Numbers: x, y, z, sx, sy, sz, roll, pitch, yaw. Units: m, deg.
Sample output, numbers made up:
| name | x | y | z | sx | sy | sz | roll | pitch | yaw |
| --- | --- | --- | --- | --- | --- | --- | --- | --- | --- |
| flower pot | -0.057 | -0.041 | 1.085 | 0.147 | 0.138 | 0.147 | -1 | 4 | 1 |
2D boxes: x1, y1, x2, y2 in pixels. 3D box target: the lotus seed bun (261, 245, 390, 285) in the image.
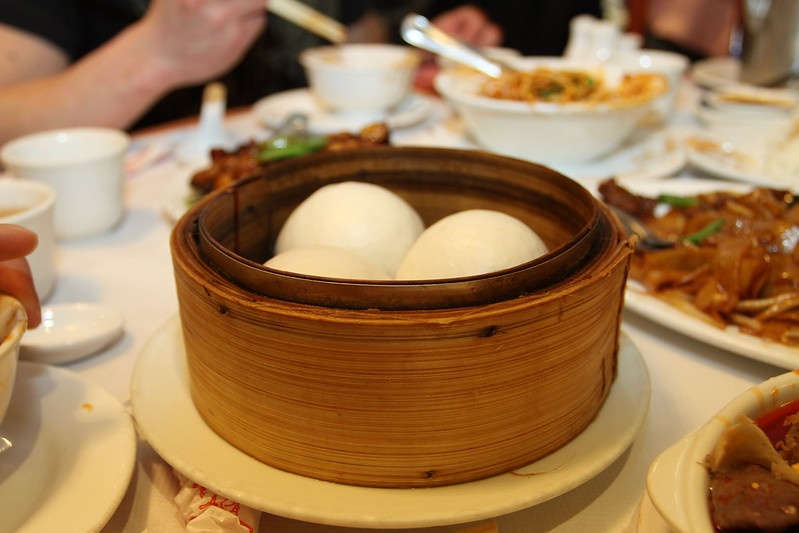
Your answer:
| name | x | y | z | sx | sy | sz | roll | pitch | yaw |
| --- | --- | --- | --- | --- | --- | --- | --- | --- | --- |
| lotus seed bun | -0.105 | -0.006 | 0.907 | 0.154 | 0.049 | 0.132 | 7 | 17 | -12 |

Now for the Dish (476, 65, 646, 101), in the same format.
| name | x | y | z | sx | sy | sz | roll | pitch | yaw |
| --- | --- | --- | --- | --- | --- | --- | --- | --- | --- |
| Dish | 0.388 | -0.413 | 1.501 | 0.184 | 0.034 | 0.198 | 11 | 19 | 32 |
